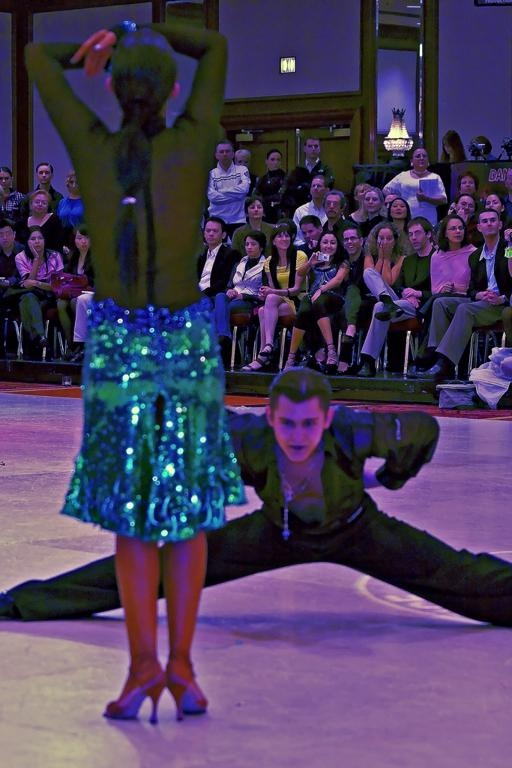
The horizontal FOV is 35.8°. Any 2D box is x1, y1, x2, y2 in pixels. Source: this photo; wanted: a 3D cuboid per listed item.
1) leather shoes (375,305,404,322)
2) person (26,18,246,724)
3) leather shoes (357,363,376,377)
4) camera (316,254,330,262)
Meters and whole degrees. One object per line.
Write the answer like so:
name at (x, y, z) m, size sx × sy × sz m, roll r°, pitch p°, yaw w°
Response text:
leather shoes at (1.361, -0.732, 8.187) m, size 0.317 × 0.115 × 0.271 m, roll -2°, pitch 17°, yaw -6°
person at (-0.133, 0.010, 1.361) m, size 0.405 × 1.112 × 0.358 m, roll -2°, pitch 21°, yaw -11°
leather shoes at (1.180, -0.139, 8.423) m, size 0.166 × 0.165 × 0.169 m, roll -3°, pitch 20°, yaw -4°
camera at (0.742, -1.399, 8.757) m, size 0.127 × 0.097 × 0.096 m, roll 1°, pitch -2°, yaw 9°
